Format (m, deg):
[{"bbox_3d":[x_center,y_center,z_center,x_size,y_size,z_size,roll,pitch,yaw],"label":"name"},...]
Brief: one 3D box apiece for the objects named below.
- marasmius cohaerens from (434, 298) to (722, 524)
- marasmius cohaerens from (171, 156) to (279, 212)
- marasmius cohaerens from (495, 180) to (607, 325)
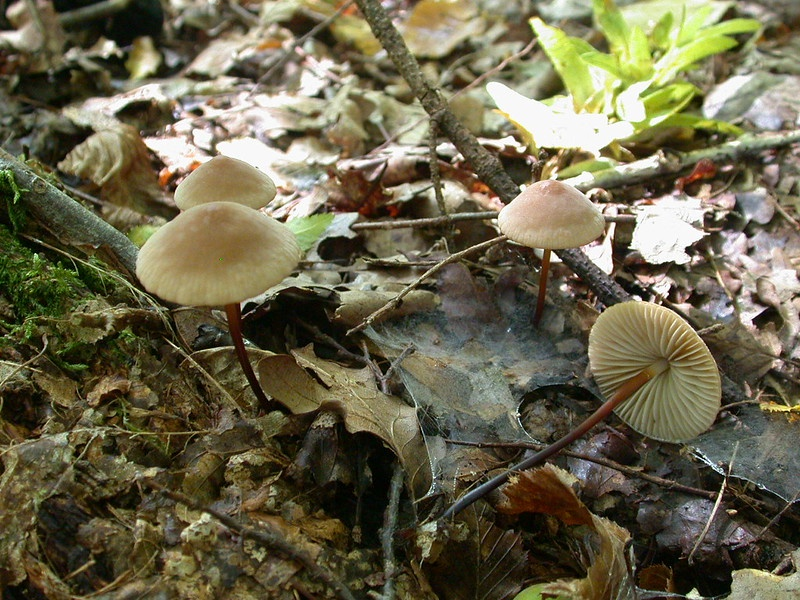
[{"bbox_3d":[0.827,0.646,3.393,0.830,1.509,0.761,48,-34,23],"label":"marasmius cohaerens"},{"bbox_3d":[-0.900,-0.596,3.586,0.371,0.360,0.164,5,-55,8],"label":"marasmius cohaerens"},{"bbox_3d":[0.808,-0.336,3.676,0.352,0.527,0.489,19,-67,49],"label":"marasmius cohaerens"}]
